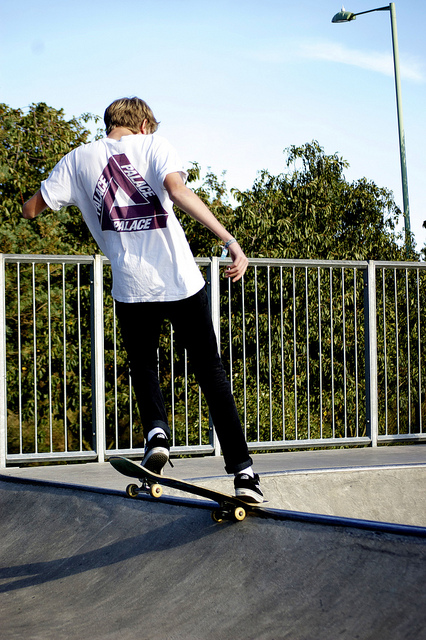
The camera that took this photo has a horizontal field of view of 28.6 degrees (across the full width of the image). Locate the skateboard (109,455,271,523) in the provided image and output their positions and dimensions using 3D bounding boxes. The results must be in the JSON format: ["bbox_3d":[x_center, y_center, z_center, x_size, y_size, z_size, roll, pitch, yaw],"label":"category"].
[{"bbox_3d":[-0.093,0.654,3.189,0.584,0.113,0.155,30,-21,-19],"label":"skateboard"}]

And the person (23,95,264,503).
[{"bbox_3d":[-0.232,-0.092,3.119,0.813,1.457,0.357,-2,0,31],"label":"person"}]
